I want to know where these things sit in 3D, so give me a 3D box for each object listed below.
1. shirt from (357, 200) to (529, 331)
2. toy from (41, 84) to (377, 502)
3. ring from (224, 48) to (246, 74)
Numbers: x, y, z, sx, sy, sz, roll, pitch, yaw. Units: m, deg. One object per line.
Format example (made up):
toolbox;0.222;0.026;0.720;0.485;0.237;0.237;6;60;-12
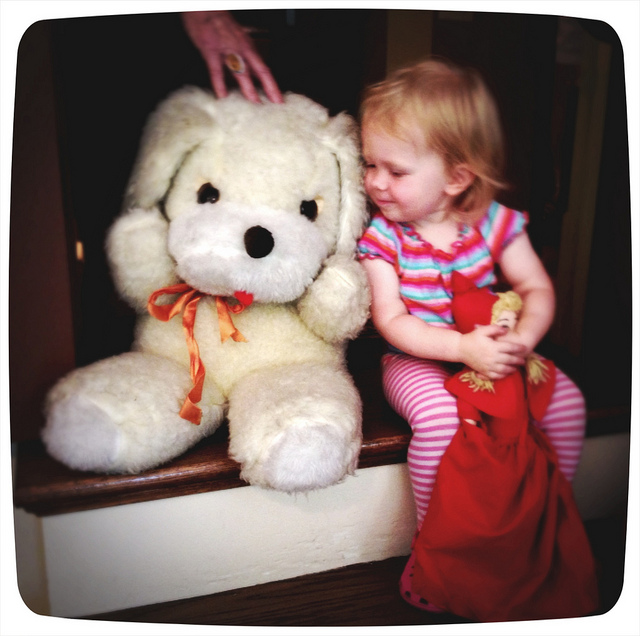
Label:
shirt;0.184;-0.086;1.035;0.250;0.204;0.076;-5;2;10
toy;-0.173;-0.043;0.989;0.488;0.478;0.418;12;34;-5
ring;-0.120;-0.360;0.962;0.024;0.029;0.008;-28;28;17
